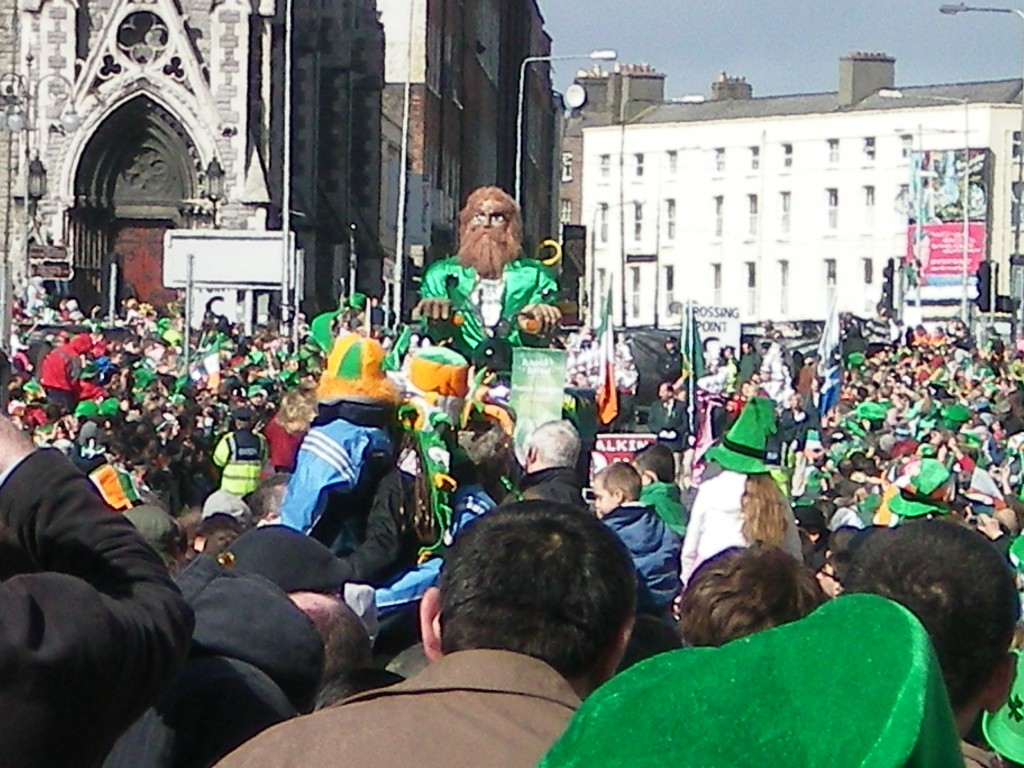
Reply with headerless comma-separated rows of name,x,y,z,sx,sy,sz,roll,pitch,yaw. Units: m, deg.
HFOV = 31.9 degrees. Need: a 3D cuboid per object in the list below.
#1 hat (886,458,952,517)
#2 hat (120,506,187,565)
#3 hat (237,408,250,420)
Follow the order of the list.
hat,2.278,0.595,9.977,0.326,0.295,0.702,3,4,14
hat,-1.535,0.680,7.820,0.255,0.238,0.453,1,4,-13
hat,-1.885,0.230,12.703,0.109,0.086,0.154,2,4,-4
